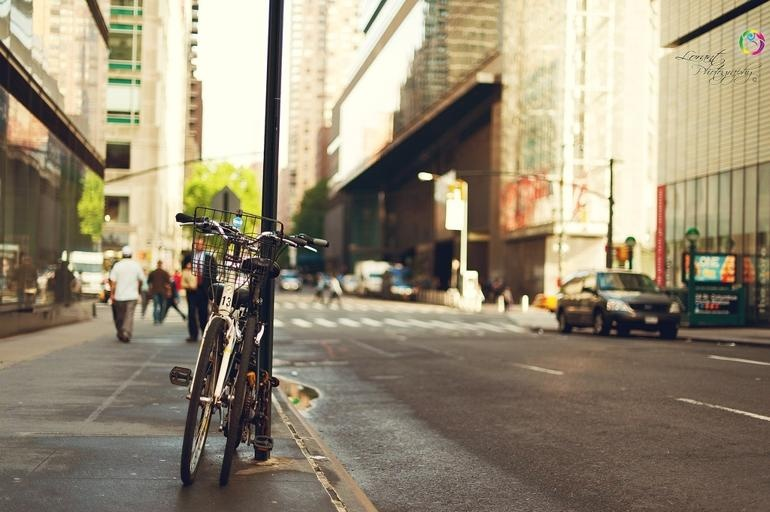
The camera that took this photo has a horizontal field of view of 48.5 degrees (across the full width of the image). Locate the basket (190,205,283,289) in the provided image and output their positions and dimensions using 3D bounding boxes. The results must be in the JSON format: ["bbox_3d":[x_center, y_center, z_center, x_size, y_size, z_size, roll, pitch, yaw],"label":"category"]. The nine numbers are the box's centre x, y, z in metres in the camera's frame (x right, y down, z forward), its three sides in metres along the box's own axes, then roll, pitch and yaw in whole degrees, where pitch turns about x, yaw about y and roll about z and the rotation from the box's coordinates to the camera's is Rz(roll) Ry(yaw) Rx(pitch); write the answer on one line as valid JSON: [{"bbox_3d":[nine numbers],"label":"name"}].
[{"bbox_3d":[-1.750,-0.119,9.786,0.677,0.729,1.066,20,7,19],"label":"basket"}]

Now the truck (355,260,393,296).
[{"bbox_3d":[-0.980,1.890,70.904,2.770,3.114,5.324,1,-4,-2],"label":"truck"}]

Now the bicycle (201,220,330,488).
[{"bbox_3d":[-1.682,1.019,9.775,1.325,3.060,0.863,3,-4,-34],"label":"bicycle"}]

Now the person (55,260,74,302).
[{"bbox_3d":[-9.309,0.820,24.736,0.605,0.984,2.361,3,-9,-15],"label":"person"}]

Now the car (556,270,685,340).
[{"bbox_3d":[6.872,1.394,25.500,1.813,2.028,3.821,3,-4,-25],"label":"car"}]
